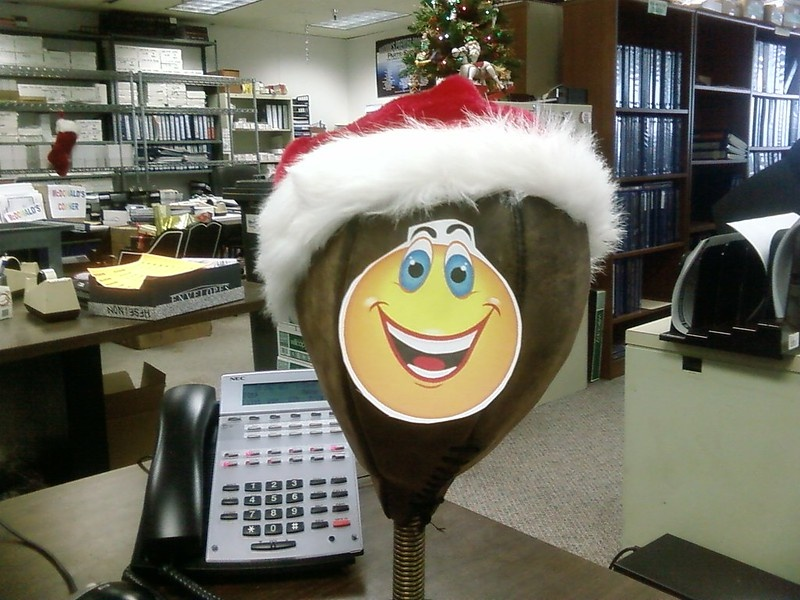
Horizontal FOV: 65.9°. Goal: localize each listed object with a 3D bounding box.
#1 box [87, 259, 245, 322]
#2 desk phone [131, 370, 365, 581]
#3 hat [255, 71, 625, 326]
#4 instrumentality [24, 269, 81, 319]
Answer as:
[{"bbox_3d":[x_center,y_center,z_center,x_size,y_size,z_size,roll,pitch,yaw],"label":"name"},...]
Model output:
[{"bbox_3d":[-0.600,-0.042,1.578,0.363,0.116,0.315,-13,16,-39],"label":"box"},{"bbox_3d":[-0.181,0.194,0.753,0.262,0.086,0.264,-3,33,-21],"label":"desk phone"},{"bbox_3d":[0.025,-0.079,0.488,0.225,0.139,0.170,-12,-3,-4],"label":"hat"},{"bbox_3d":[-0.831,-0.020,1.466,0.155,0.109,0.085,9,10,44],"label":"instrumentality"}]
